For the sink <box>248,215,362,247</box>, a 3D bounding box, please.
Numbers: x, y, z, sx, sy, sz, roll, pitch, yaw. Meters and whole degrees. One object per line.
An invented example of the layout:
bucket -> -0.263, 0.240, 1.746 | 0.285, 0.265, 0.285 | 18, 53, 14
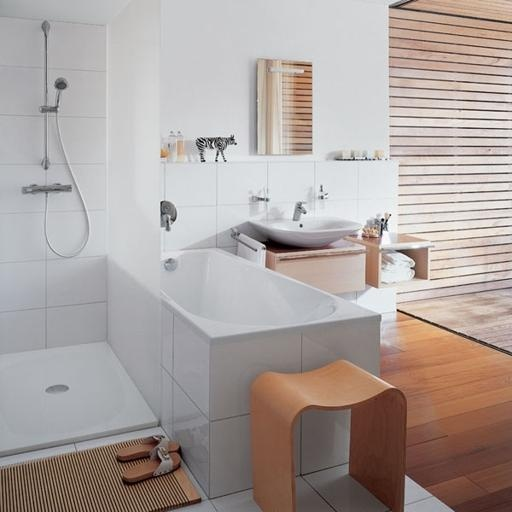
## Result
sink -> 0.367, -0.169, 3.375 | 0.693, 0.166, 0.648 | -6, 14, -24

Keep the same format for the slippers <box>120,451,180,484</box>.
slippers -> -0.395, 0.803, 1.812 | 0.162, 0.041, 0.081 | -10, 15, -26

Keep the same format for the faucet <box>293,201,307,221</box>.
faucet -> 0.312, -0.336, 3.536 | 0.107, 0.146, 0.149 | -7, 8, -26

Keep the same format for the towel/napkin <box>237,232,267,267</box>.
towel/napkin -> -0.032, -0.042, 3.180 | 0.034, 0.124, 0.233 | -5, 15, -26

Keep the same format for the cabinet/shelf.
cabinet/shelf -> 1.014, -0.026, 3.562 | 0.483, 0.275, 0.469 | -5, 11, -29

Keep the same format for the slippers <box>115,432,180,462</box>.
slippers -> -0.446, 0.776, 1.942 | 0.209, 0.045, 0.100 | -7, 14, -23

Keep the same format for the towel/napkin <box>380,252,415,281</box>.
towel/napkin -> 1.041, 0.090, 3.554 | 0.239, 0.081, 0.236 | -4, 14, -15

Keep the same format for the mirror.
mirror -> 0.216, -1.136, 3.608 | 0.476, 0.689, 0.078 | -6, 14, -22
